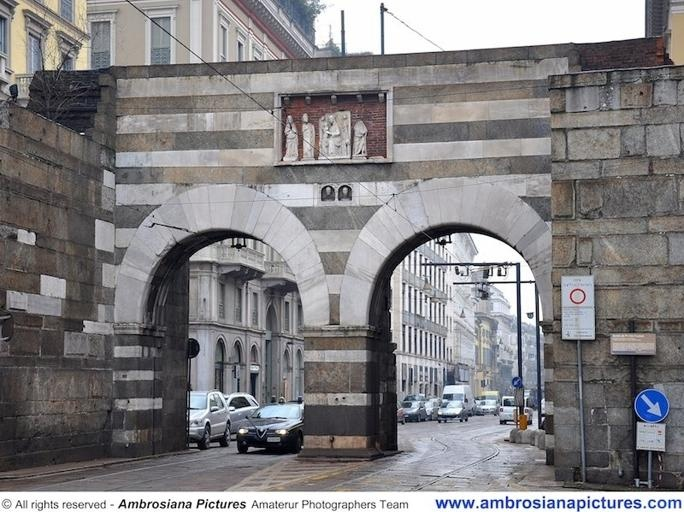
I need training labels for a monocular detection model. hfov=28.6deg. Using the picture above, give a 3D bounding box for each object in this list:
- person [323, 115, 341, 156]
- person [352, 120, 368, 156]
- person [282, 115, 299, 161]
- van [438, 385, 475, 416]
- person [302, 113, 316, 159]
[{"bbox_3d":[-0.284,-3.210,35.665,0.409,1.116,0.407,-3,-3,1],"label":"person"},{"bbox_3d":[0.469,-3.110,35.405,0.375,1.012,0.111,1,-3,9],"label":"person"},{"bbox_3d":[-1.346,-3.129,35.685,0.395,1.236,0.161,2,-3,-6],"label":"person"},{"bbox_3d":[6.531,8.379,78.087,1.377,1.840,3.683,-3,-13,13],"label":"van"},{"bbox_3d":[-0.896,-3.186,35.682,0.343,1.277,0.183,2,-3,-8],"label":"person"}]
